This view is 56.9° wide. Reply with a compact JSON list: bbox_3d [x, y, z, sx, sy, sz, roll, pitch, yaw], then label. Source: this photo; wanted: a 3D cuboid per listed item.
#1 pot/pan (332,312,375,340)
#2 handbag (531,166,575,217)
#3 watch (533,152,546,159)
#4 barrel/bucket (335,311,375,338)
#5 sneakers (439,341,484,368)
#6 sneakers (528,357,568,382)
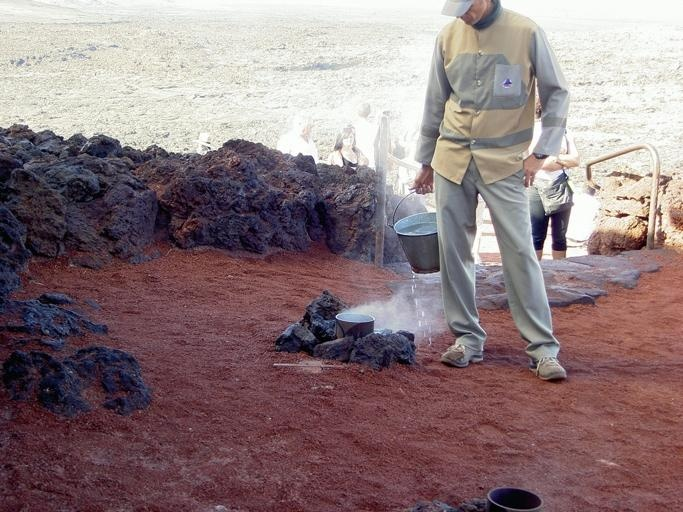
[{"bbox_3d":[0.101,0.565,5.212,0.259,0.128,0.257,9,12,42],"label":"pot/pan"},{"bbox_3d":[2.196,-0.670,6.607,0.611,0.428,0.310,-13,1,2],"label":"handbag"},{"bbox_3d":[1.472,-0.731,4.653,0.101,0.047,0.064,-2,20,0],"label":"watch"},{"bbox_3d":[0.104,0.560,5.210,0.259,0.128,0.255,1,8,0],"label":"barrel/bucket"},{"bbox_3d":[0.947,0.804,5.032,0.379,0.139,0.154,3,-1,-23],"label":"sneakers"},{"bbox_3d":[1.567,0.862,4.799,0.156,0.100,0.280,-4,1,-20],"label":"sneakers"}]
